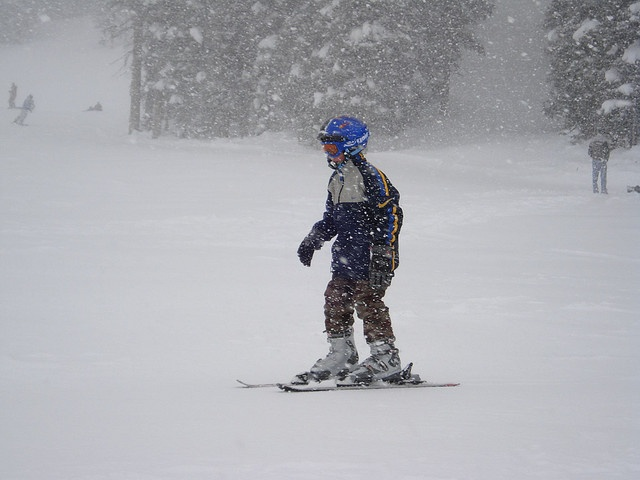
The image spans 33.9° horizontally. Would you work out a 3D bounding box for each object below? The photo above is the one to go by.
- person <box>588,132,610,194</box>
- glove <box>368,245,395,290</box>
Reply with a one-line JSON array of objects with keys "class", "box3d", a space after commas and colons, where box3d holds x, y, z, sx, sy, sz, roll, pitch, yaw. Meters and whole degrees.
[{"class": "person", "box3d": [7.284, -1.994, 27.272, 0.507, 1.545, 1.417, 3, 5, 14]}, {"class": "glove", "box3d": [0.889, 0.369, 14.931, 0.380, 0.576, 0.176, 4, -5, -3]}]
